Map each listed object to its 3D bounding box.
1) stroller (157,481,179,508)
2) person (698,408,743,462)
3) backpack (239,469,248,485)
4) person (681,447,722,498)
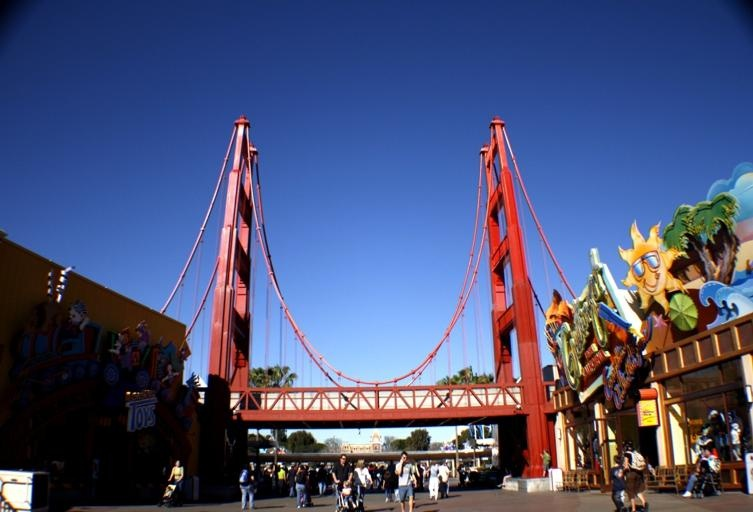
[{"bbox_3d":[-9.309,10.604,24.076,0.606,1.055,1.092,1,-57,-4],"label":"stroller"},{"bbox_3d":[12.678,6.589,20.091,1.018,2.233,1.402,12,-25,-26],"label":"person"},{"bbox_3d":[-5.906,9.834,24.460,0.294,0.645,1.046,6,-25,-20],"label":"backpack"},{"bbox_3d":[11.785,7.562,19.758,1.228,2.077,0.900,-5,2,-10],"label":"person"}]
